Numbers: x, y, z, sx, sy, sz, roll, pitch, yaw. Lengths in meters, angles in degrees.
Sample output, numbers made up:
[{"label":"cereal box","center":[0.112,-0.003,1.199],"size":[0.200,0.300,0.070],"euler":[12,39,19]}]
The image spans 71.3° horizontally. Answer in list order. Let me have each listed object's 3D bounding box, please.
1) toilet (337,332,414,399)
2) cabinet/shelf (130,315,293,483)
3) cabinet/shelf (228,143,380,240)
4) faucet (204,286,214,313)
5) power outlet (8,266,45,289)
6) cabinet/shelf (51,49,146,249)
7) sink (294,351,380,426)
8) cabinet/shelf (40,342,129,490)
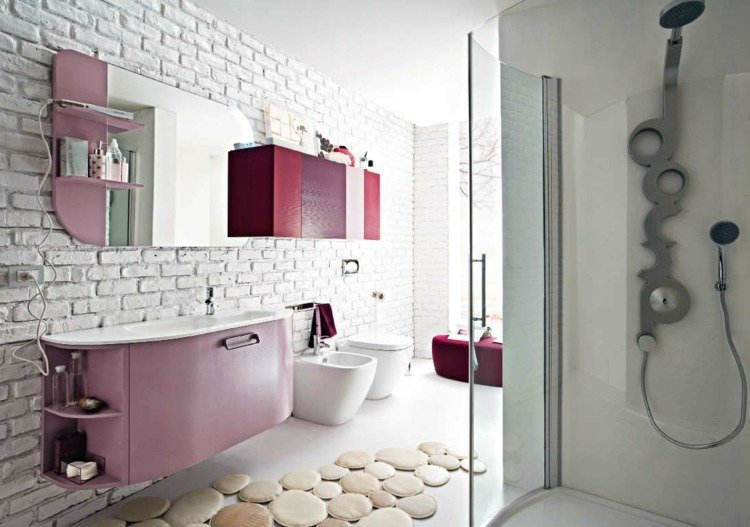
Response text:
[{"label":"toilet","center":[0.045,0.875,4.606],"size":[0.618,0.478,0.493],"euler":[1,3,23]},{"label":"cabinet/shelf","center":[-0.917,0.749,2.991],"size":[0.748,0.733,1.237],"euler":[0,1,29]},{"label":"cabinet/shelf","center":[-0.472,-0.504,4.241],"size":[0.389,0.625,1.504],"euler":[1,2,31]},{"label":"faucet","center":[-1.092,0.239,3.432],"size":[0.060,0.188,0.191],"euler":[-2,10,-17]},{"label":"power outlet","center":[-1.827,0.061,2.724],"size":[0.096,0.137,0.188],"euler":[5,4,36]},{"label":"cabinet/shelf","center":[-1.517,-0.640,2.855],"size":[0.425,1.074,0.259],"euler":[0,-2,-36]},{"label":"sink","center":[-0.307,0.966,4.068],"size":[0.600,0.452,0.490],"euler":[0,1,26]},{"label":"cabinet/shelf","center":[-1.490,0.783,2.826],"size":[0.293,0.591,0.393],"euler":[13,-10,-16]}]
